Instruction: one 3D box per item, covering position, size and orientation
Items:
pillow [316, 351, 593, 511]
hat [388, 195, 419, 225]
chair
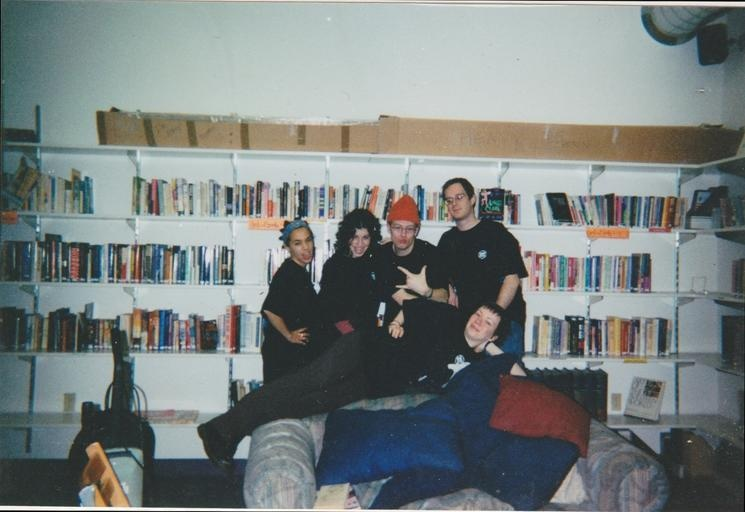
[{"bbox_3d":[0.535,1.230,4.745,1.321,0.926,0.328,6,-32,11],"label":"pillow"},{"bbox_3d":[0.241,-0.354,5.401,0.176,0.198,0.238,6,-8,4],"label":"hat"},{"bbox_3d":[-1.874,1.532,5.002,0.350,0.426,0.162,-1,1,-6],"label":"chair"}]
